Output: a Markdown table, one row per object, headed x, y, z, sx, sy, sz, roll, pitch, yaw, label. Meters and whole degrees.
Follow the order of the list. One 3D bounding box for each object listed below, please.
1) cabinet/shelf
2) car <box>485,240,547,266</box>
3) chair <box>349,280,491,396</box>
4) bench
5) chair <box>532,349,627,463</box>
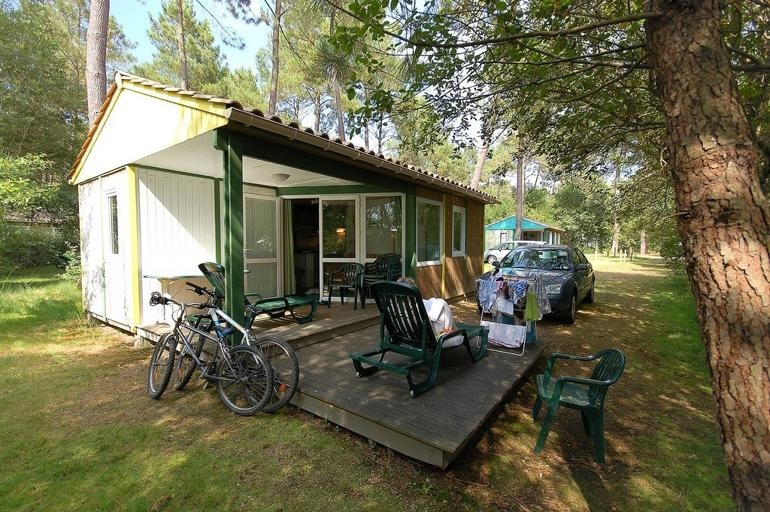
| x | y | z | sx | sy | sz | roll | pitch | yaw | label |
| --- | --- | --- | --- | --- | --- | --- | --- | --- | --- |
| 2.358 | 0.953 | 9.365 | 1.361 | 1.338 | 1.288 | 1 | 9 | -5 | cabinet/shelf |
| 4.185 | -0.121 | 16.215 | 1.263 | 0.928 | 2.200 | -4 | 8 | -30 | car |
| 0.743 | 1.078 | 8.387 | 1.216 | 1.612 | 2.493 | 5 | 10 | 41 | chair |
| -2.293 | 0.748 | 9.465 | 1.067 | 1.326 | 2.052 | 4 | 7 | 42 | bench |
| 2.713 | 2.031 | 7.222 | 1.022 | 1.527 | 1.113 | 8 | 11 | 13 | chair |
